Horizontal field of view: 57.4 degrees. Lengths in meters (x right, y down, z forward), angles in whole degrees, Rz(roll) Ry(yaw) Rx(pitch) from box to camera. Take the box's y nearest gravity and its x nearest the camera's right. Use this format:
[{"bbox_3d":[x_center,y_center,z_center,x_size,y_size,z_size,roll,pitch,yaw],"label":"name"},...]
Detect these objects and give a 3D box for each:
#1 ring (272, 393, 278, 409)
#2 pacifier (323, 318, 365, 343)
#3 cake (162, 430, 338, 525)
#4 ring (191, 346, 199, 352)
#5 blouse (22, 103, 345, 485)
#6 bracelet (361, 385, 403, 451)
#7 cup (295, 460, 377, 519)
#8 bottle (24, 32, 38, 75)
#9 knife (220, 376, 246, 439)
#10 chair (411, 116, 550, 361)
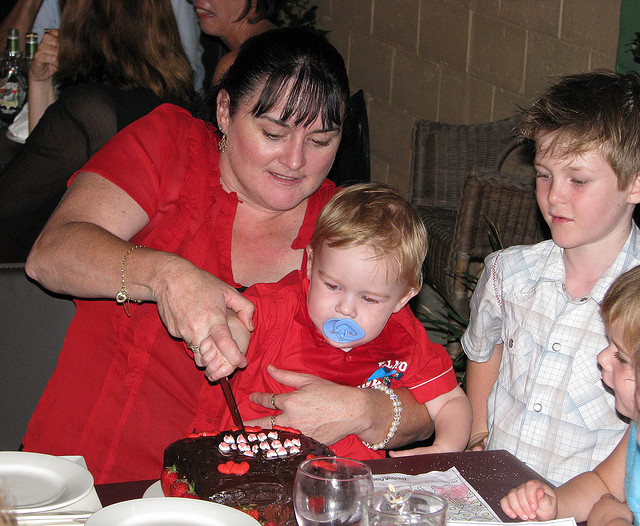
[{"bbox_3d":[-0.136,0.414,1.754,0.016,0.038,0.028,2,11,-31],"label":"ring"},{"bbox_3d":[0.074,0.223,1.897,0.109,0.078,0.023,6,21,9],"label":"pacifier"},{"bbox_3d":[-0.170,0.466,1.321,0.229,0.101,0.230,14,-1,-28],"label":"cake"},{"bbox_3d":[-0.330,0.225,1.547,0.014,0.019,0.007,0,50,6],"label":"ring"},{"bbox_3d":[-0.498,0.077,1.969,0.657,1.165,0.599,11,10,15],"label":"blouse"},{"bbox_3d":[0.184,0.484,1.875,0.037,0.187,0.146,16,-19,1],"label":"bracelet"},{"bbox_3d":[0.033,0.432,1.121,0.105,0.121,0.109,2,-1,0],"label":"cup"},{"bbox_3d":[-1.846,-1.339,3.723,0.073,0.277,0.596,3,11,-28],"label":"bottle"},{"bbox_3d":[-0.251,0.414,1.663,0.023,0.218,0.024,-12,7,45],"label":"knife"},{"bbox_3d":[1.031,-0.074,3.383,0.573,1.013,0.702,-2,4,3],"label":"chair"}]
